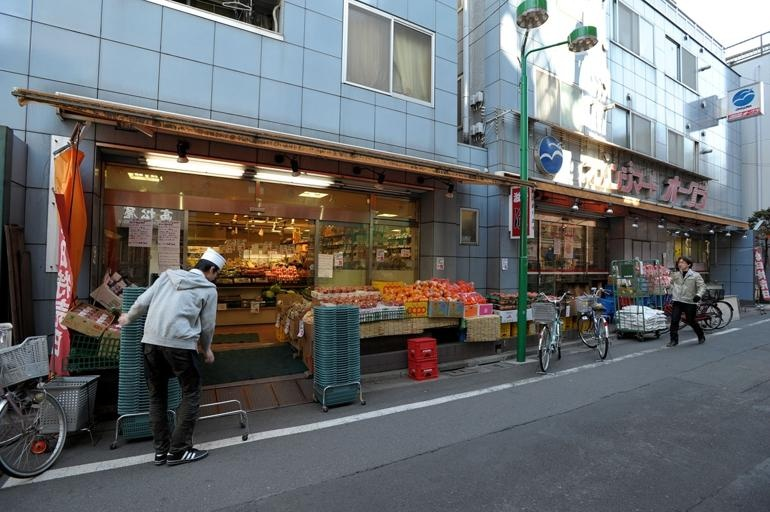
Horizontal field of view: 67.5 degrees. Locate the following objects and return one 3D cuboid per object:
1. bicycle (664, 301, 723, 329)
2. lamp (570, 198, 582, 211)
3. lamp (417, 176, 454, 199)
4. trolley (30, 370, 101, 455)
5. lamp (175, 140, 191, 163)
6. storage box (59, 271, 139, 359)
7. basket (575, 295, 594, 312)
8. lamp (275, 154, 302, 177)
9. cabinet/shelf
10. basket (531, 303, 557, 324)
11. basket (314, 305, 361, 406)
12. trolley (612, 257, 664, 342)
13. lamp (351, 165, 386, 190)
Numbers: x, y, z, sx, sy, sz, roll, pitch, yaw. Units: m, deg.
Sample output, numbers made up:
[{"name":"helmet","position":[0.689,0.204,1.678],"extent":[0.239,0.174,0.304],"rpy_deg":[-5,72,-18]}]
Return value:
[{"name":"bicycle","position":[10.104,1.915,18.514],"extent":[1.950,1.268,1.022],"rpy_deg":[1,-5,-1]},{"name":"lamp","position":[6.307,-1.685,19.073],"extent":[0.222,0.454,0.453],"rpy_deg":[-4,-18,23]},{"name":"lamp","position":[1.517,-1.937,16.071],"extent":[1.249,0.613,0.426],"rpy_deg":[-1,-2,-33]},{"name":"trolley","position":[-5.820,3.038,10.995],"extent":[0.763,1.278,1.198],"rpy_deg":[4,22,7]},{"name":"lamp","position":[-4.628,-2.431,13.282],"extent":[0.284,0.545,0.405],"rpy_deg":[-1,-2,-20]},{"name":"storage box","position":[-5.832,1.283,12.025],"extent":[1.053,1.951,1.163],"rpy_deg":[0,-5,12]},{"name":"basket","position":[5.208,1.271,15.188],"extent":[0.440,0.469,0.378],"rpy_deg":[-5,-8,37]},{"name":"lamp","position":[-2.404,-2.284,14.381],"extent":[0.566,0.530,0.551],"rpy_deg":[-2,-2,8]},{"name":"cabinet/shelf","position":[-4.272,1.571,16.750],"extent":[0.806,0.893,2.369],"rpy_deg":[-8,-7,30]},{"name":"basket","position":[3.916,1.417,14.180],"extent":[0.475,0.468,0.508],"rpy_deg":[-1,-10,12]},{"name":"basket","position":[-0.984,2.128,12.219],"extent":[0.999,2.158,0.417],"rpy_deg":[-1,-2,-15]},{"name":"trolley","position":[7.931,1.288,17.834],"extent":[1.355,2.402,2.502],"rpy_deg":[-4,-3,44]},{"name":"lamp","position":[-0.423,-2.094,15.339],"extent":[0.734,0.496,0.436],"rpy_deg":[19,12,27]}]
